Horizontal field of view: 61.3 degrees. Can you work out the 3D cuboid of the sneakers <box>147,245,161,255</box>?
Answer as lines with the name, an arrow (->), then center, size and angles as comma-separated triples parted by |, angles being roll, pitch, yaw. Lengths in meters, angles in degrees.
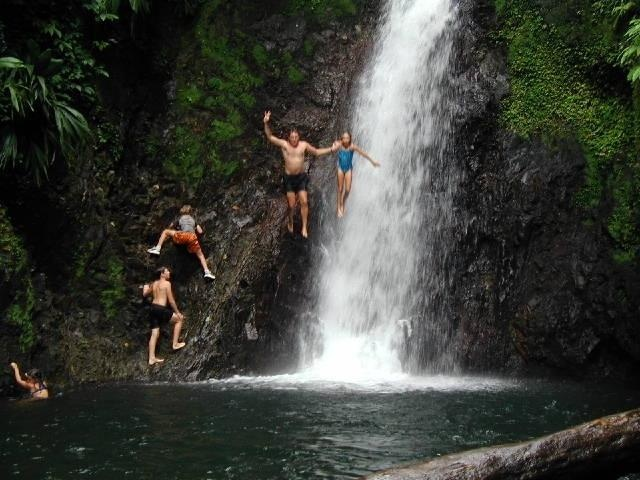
sneakers -> -3.885, 0.239, 12.617 | 0.149, 0.214, 0.442 | 21, -5, -32

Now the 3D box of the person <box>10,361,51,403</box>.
person -> -5.767, 2.770, 10.757 | 1.038, 0.584, 0.488 | 2, 2, 43

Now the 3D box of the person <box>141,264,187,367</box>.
person -> -3.541, 1.719, 12.387 | 0.798, 2.173, 0.673 | 0, 1, -14

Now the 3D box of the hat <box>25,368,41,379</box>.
hat -> -5.784, 2.691, 10.917 | 0.176, 0.272, 0.239 | 10, 3, 7

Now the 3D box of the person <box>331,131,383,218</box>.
person -> 0.954, -1.593, 13.941 | 1.292, 2.579, 1.136 | 10, 31, 13
